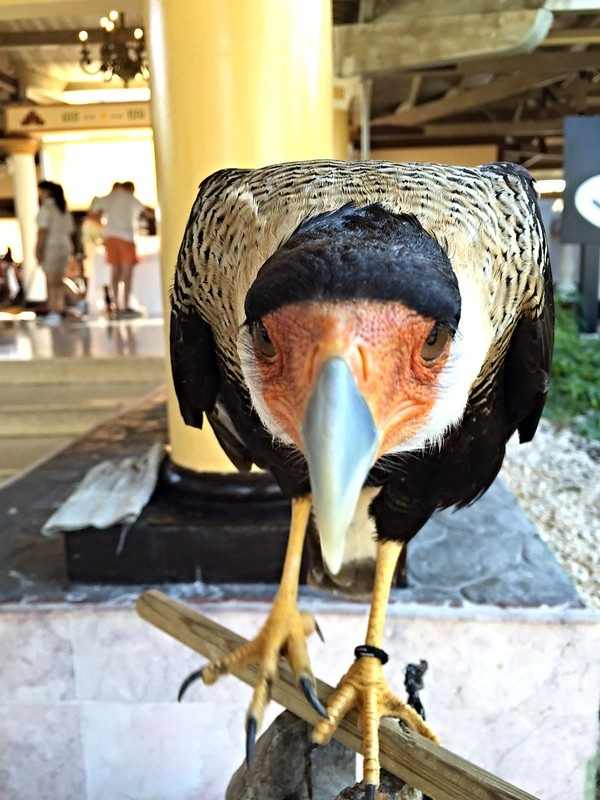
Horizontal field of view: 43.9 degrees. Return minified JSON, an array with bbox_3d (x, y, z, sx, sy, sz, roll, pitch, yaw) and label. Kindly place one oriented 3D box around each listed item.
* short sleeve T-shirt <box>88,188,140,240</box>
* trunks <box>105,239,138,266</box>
[{"bbox_3d":[-1.387,-1.403,5.676,0.374,0.392,0.396,-4,14,-11],"label":"short sleeve T-shirt"},{"bbox_3d":[-1.331,-1.092,5.570,0.235,0.209,0.211,-3,11,-8],"label":"trunks"}]
